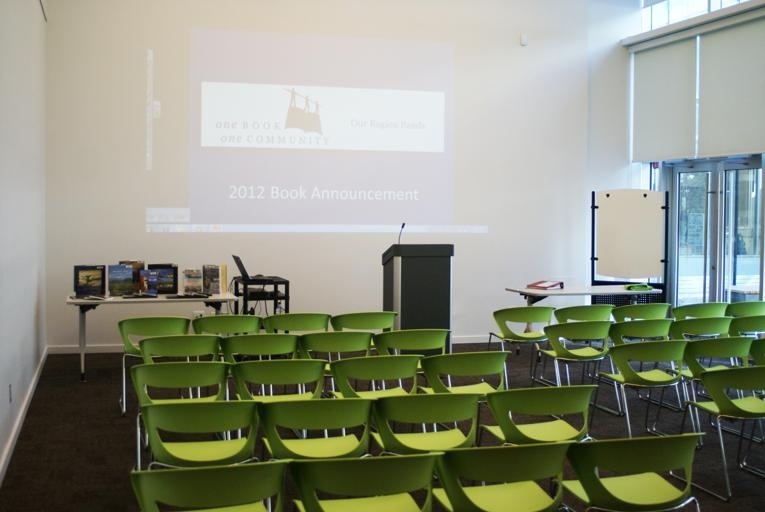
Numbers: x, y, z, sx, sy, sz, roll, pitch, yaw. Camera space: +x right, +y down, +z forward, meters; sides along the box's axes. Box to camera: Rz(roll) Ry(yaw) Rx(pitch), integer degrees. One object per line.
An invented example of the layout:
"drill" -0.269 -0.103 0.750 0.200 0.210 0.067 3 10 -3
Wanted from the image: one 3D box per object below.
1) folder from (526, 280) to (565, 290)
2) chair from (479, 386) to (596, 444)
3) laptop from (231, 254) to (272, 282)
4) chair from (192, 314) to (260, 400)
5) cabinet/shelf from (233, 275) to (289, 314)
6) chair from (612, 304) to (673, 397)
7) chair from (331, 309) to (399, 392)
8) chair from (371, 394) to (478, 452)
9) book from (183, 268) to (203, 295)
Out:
"folder" 2.349 0.409 9.058 0.454 0.105 0.515 -1 3 3
"chair" 1.231 1.255 5.042 0.893 0.545 0.596 -2 3 -5
"laptop" -1.813 0.133 8.663 0.437 0.311 0.451 0 0 -19
"chair" -1.695 0.902 6.742 0.531 0.645 0.483 0 7 -17
"cabinet/shelf" -1.697 0.474 8.877 0.707 0.640 0.684 -2 6 -28
"chair" 2.873 0.959 6.914 0.726 0.857 0.653 -3 6 -11
"chair" -0.223 0.904 7.052 0.636 0.697 0.529 -2 7 -16
"chair" 0.338 1.287 4.891 0.822 0.535 0.498 -1 3 0
"book" -2.529 0.349 8.331 0.331 0.408 0.046 -1 -1 -23
